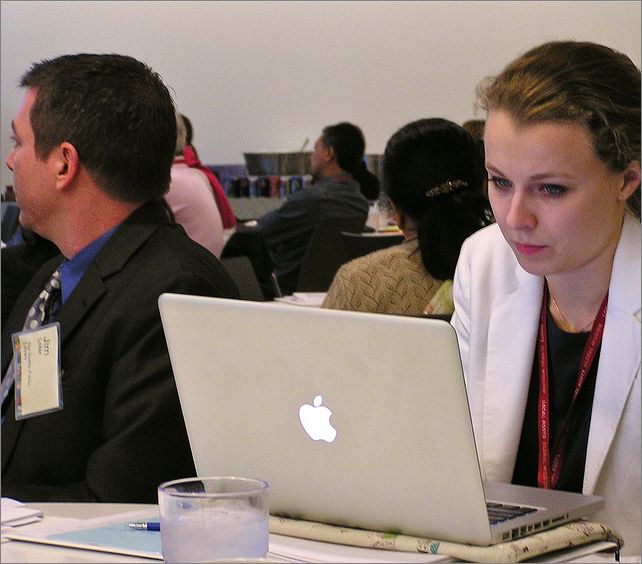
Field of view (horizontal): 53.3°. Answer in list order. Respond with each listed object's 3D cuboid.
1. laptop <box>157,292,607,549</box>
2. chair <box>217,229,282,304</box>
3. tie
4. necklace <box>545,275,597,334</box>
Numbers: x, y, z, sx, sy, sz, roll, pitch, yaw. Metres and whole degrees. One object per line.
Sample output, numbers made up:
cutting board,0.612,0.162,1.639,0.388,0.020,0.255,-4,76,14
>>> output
laptop,0.015,0.158,0.786,0.395,0.284,0.347,2,1,36
chair,-0.483,-0.096,3.989,0.198,0.428,0.213,-3,3,-10
tie,-0.647,0.132,1.429,0.047,0.038,0.336,8,63,31
necklace,0.493,0.046,1.300,0.020,0.088,0.078,-27,25,-33
